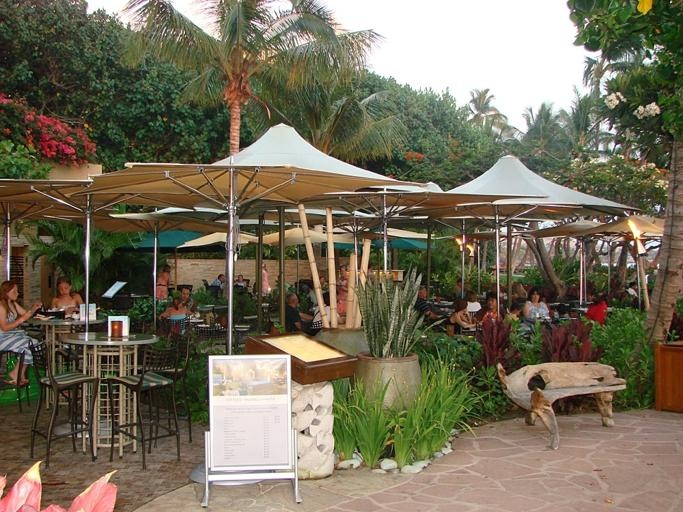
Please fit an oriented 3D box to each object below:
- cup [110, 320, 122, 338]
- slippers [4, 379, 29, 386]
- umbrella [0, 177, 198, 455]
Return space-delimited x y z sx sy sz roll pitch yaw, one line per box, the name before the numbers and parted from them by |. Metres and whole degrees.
cup | -2.761 0.916 7.611 0.189 0.194 0.181 0 -2 0
slippers | -4.879 1.929 9.382 0.371 0.083 0.166 -7 -9 26
umbrella | -3.341 0.712 8.272 1.984 3.428 3.787 -3 6 -28
